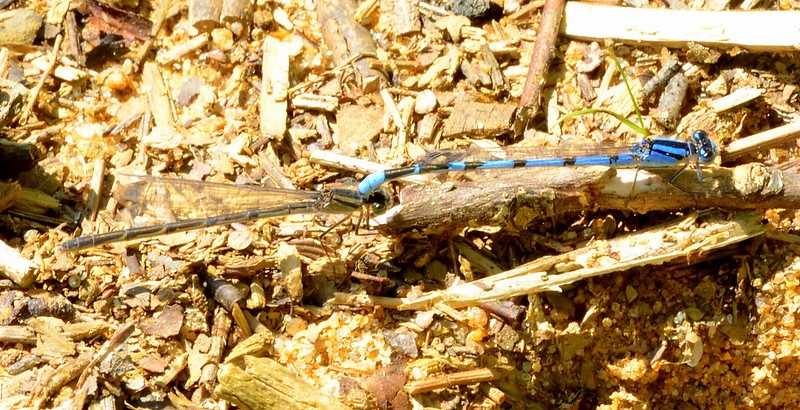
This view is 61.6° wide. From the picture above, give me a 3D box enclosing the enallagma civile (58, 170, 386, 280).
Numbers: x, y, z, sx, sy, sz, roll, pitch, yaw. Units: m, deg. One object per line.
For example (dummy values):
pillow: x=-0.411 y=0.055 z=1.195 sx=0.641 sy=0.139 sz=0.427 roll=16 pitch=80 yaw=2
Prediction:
enallagma civile: x=-1.513 y=-0.023 z=5.564 sx=2.563 sy=0.496 sz=0.444 roll=-5 pitch=26 yaw=-2
